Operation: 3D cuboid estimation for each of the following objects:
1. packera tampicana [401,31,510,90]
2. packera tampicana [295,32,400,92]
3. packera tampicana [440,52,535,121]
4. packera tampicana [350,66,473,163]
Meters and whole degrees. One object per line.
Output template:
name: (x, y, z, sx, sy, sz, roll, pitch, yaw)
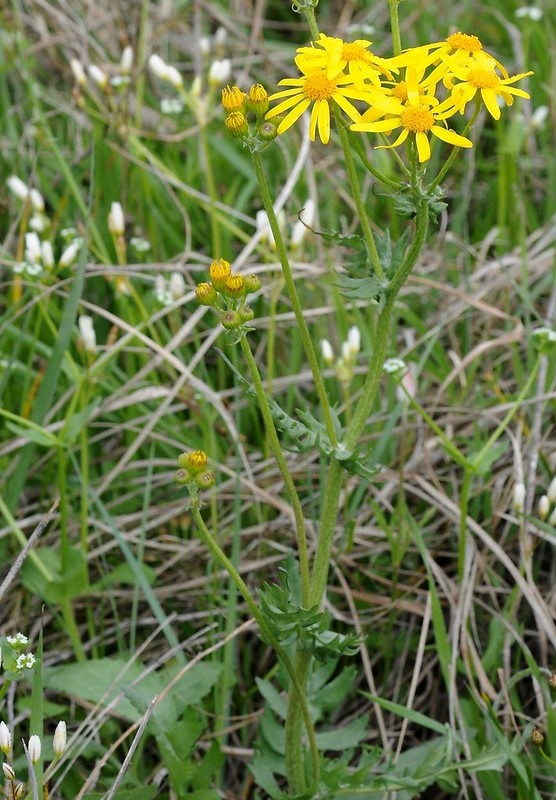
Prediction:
packera tampicana: (0.254, -0.472, 1.068, 0.143, 0.079, 0.148, 7, 29, 24)
packera tampicana: (0.095, -0.445, 0.995, 0.115, 0.127, 0.038, 12, 94, 30)
packera tampicana: (0.272, -0.428, 1.029, 0.103, 0.105, 0.047, 15, 94, 27)
packera tampicana: (0.181, -0.349, 0.987, 0.135, 0.045, 0.134, 1, 33, 29)
